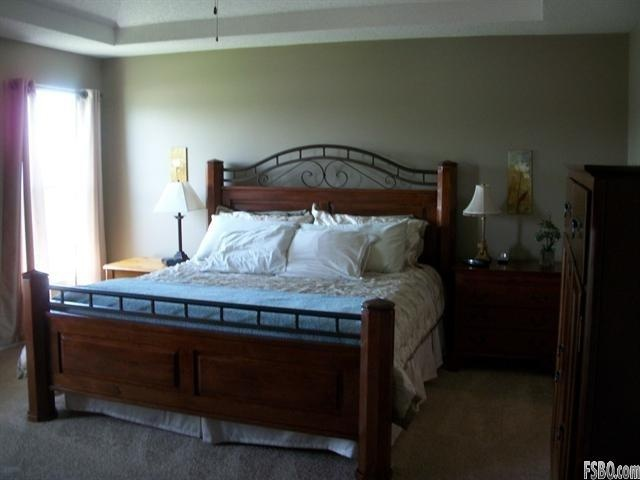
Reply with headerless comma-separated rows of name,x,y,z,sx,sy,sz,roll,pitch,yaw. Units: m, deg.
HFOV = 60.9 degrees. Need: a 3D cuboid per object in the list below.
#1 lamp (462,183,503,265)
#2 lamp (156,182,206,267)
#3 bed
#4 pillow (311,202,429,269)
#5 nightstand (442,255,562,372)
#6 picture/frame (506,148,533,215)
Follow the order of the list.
lamp,1.270,-0.135,4.308,0.264,0.601,0.427,3,12,15
lamp,-1.252,-0.126,4.854,0.410,0.680,0.414,-11,-7,42
bed,-0.139,0.532,4.007,2.186,1.864,2.576,2,7,21
pillow,0.444,-0.010,4.330,0.547,0.533,0.187,3,-13,27
nightstand,1.446,0.492,4.252,0.782,0.828,0.523,0,23,13
picture/frame,1.613,-0.474,4.404,0.196,0.583,0.028,0,-24,23
